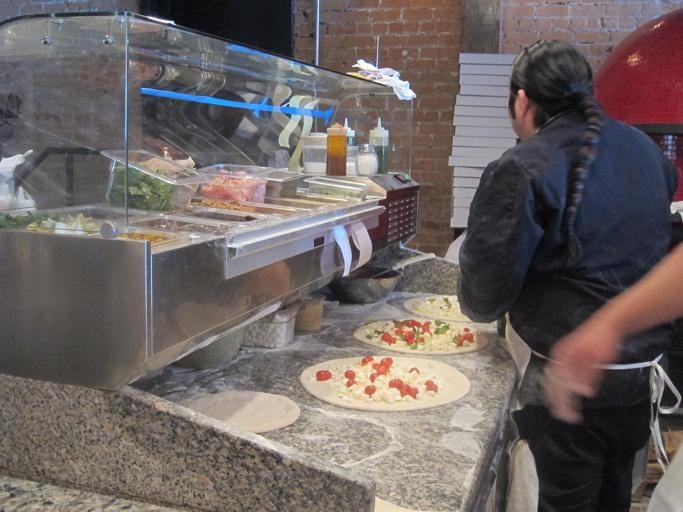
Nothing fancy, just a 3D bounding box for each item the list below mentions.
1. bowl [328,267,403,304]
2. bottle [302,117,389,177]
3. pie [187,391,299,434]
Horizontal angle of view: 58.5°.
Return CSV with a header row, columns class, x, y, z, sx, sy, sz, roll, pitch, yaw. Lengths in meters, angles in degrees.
class,x,y,z,sx,sy,sz,roll,pitch,yaw
bowl,0.097,0.138,2.683,0.301,0.141,0.181,5,13,6
bottle,0.029,-0.430,2.416,0.372,0.219,0.211,-4,7,-35
pie,-0.239,0.388,1.582,0.271,0.014,0.207,11,14,33
